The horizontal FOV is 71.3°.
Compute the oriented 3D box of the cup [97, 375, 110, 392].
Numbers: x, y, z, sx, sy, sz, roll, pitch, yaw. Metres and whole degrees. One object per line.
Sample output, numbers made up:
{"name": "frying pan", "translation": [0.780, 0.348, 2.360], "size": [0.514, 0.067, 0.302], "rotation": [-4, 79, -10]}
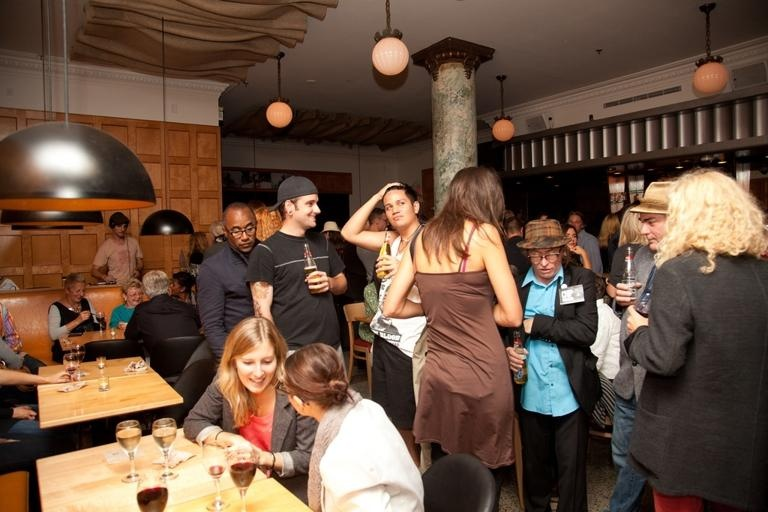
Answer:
{"name": "cup", "translation": [-2.152, 0.988, 4.097], "size": [0.100, 0.110, 0.102], "rotation": [-2, -10, 0]}

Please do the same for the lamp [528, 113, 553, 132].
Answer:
{"name": "lamp", "translation": [2.870, -2.414, 9.740], "size": [0.475, 0.458, 0.115], "rotation": [0, 5, 25]}

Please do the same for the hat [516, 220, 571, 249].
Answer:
{"name": "hat", "translation": [1.099, -0.166, 3.620], "size": [0.221, 0.124, 0.237], "rotation": [-3, 4, 33]}

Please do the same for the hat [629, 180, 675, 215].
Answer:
{"name": "hat", "translation": [1.673, -0.354, 3.332], "size": [0.228, 0.115, 0.223], "rotation": [-1, 7, -21]}

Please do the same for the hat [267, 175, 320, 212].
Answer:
{"name": "hat", "translation": [-0.640, -0.438, 3.836], "size": [0.300, 0.180, 0.225], "rotation": [-5, 7, 16]}

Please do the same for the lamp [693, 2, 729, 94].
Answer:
{"name": "lamp", "translation": [4.229, -2.556, 6.928], "size": [0.343, 1.020, 1.291], "rotation": [1, 5, 31]}
